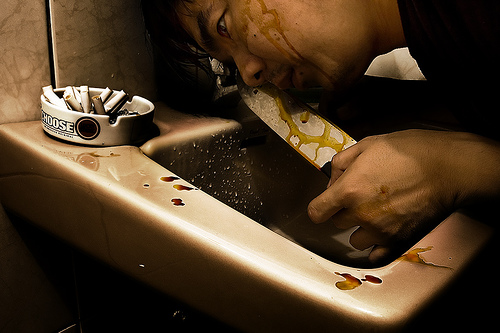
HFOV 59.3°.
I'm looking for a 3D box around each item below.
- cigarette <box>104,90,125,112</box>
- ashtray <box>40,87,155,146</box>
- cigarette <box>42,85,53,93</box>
[{"bbox_3d":[-0.272,-0.131,0.882,0.018,0.019,0.062,41,73,2],"label":"cigarette"},{"bbox_3d":[-0.322,-0.108,0.934,0.225,0.095,0.240,11,22,14],"label":"ashtray"},{"bbox_3d":[-0.399,-0.154,0.869,0.015,0.012,0.016,-18,40,-12],"label":"cigarette"}]
